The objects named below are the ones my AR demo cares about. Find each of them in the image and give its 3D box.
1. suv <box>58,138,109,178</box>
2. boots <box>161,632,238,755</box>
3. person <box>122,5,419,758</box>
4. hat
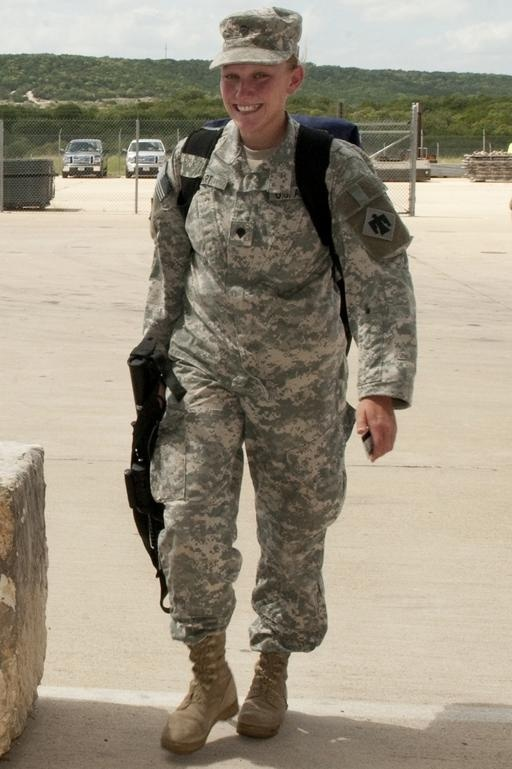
[{"bbox_3d":[-6.290,-8.353,36.979,1.201,0.826,1.930,-1,2,0],"label":"suv"},{"bbox_3d":[-0.182,0.708,2.301,0.117,0.200,0.306,-1,4,23],"label":"boots"},{"bbox_3d":[0.020,-0.012,2.339,0.661,1.681,0.437,2,4,1],"label":"person"},{"bbox_3d":[-0.003,-0.770,2.202,0.196,0.152,0.145,2,4,-1],"label":"hat"}]
